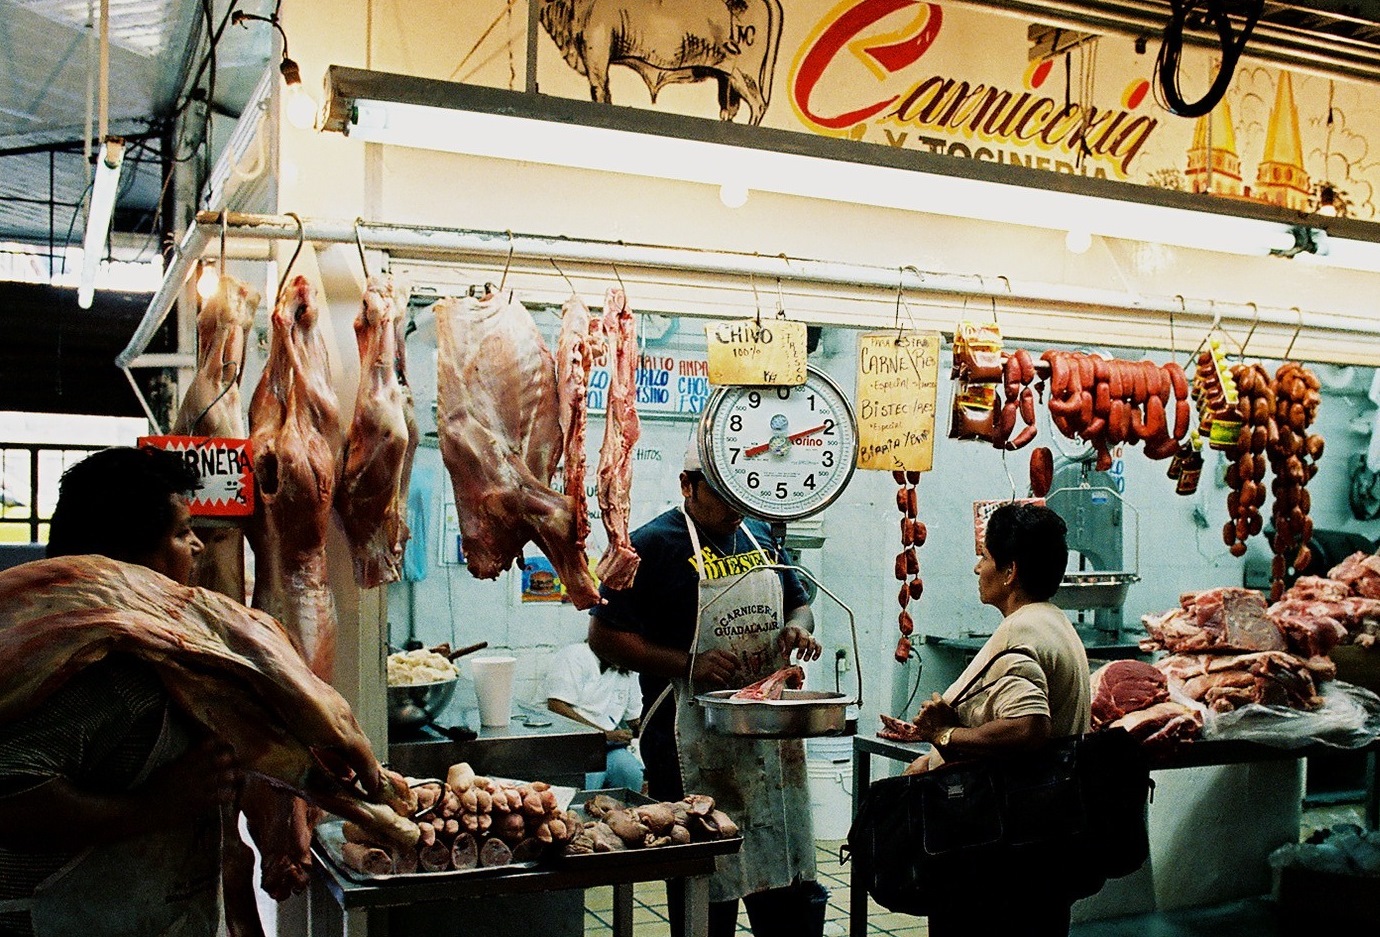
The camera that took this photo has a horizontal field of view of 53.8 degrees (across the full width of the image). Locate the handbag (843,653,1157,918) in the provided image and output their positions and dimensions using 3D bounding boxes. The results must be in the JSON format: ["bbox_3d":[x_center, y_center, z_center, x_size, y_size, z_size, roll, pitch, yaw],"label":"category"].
[{"bbox_3d":[1.308,1.389,5.765,1.248,1.074,0.346,-1,-7,13],"label":"handbag"}]

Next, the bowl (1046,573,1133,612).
[{"bbox_3d":[2.613,0.786,8.759,0.429,0.167,0.444,-2,-7,0],"label":"bowl"}]

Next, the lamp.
[{"bbox_3d":[-4.205,-2.171,9.562,0.296,0.242,2.792,1,-39,-19],"label":"lamp"}]

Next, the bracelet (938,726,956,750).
[{"bbox_3d":[1.102,1.157,5.817,0.021,0.071,0.067,16,11,-25],"label":"bracelet"}]

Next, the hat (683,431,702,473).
[{"bbox_3d":[0.043,-0.079,6.214,0.051,0.171,0.123,8,6,-13],"label":"hat"}]

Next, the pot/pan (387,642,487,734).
[{"bbox_3d":[-1.247,0.960,6.288,0.592,0.308,0.402,1,9,-8],"label":"pot/pan"}]
